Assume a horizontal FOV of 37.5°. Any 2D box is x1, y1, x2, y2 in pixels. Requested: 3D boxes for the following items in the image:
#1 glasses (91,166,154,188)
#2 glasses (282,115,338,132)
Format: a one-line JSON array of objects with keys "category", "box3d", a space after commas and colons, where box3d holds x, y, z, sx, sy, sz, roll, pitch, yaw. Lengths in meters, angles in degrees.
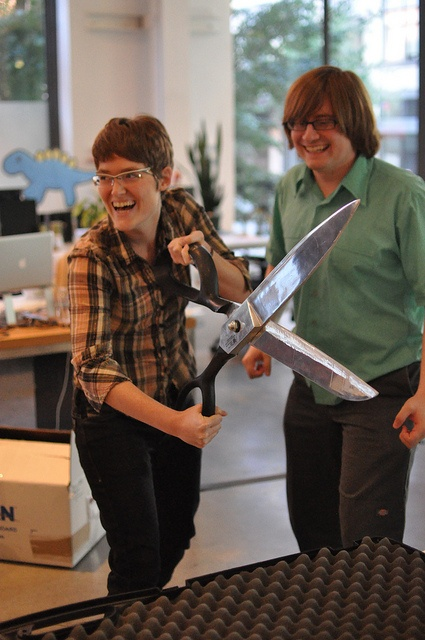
[{"category": "glasses", "box3d": [-0.183, -0.291, 1.283, 0.110, 0.038, 0.046, 1, 12, 7]}, {"category": "glasses", "box3d": [0.222, -0.457, 1.473, 0.037, 0.035, 0.142, -12, 16, -43]}]
